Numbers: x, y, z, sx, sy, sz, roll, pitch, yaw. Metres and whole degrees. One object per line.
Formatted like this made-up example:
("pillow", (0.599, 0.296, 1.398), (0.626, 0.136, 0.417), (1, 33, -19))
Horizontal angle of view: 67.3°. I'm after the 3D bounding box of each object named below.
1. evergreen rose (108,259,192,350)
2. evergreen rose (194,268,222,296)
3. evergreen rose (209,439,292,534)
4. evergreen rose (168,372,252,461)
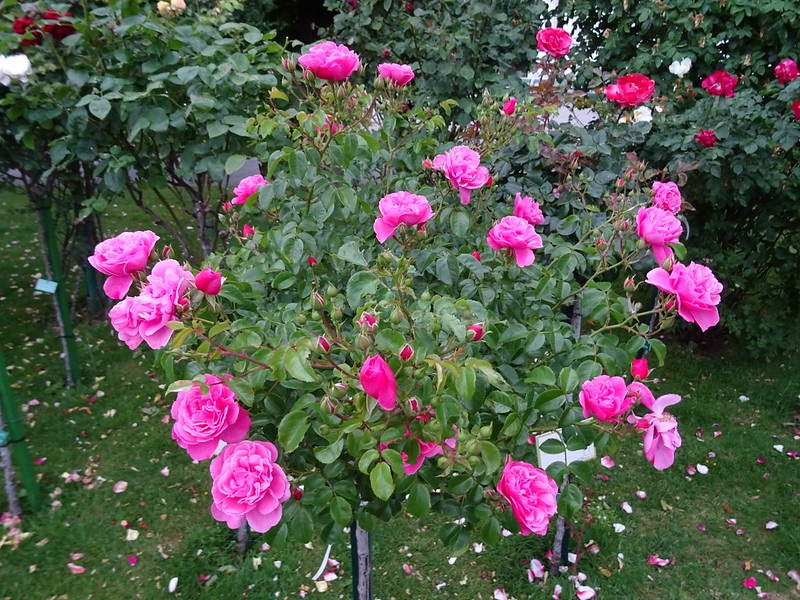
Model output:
("evergreen rose", (-0.892, 0.030, 2.224), (0.304, 0.155, 0.315), (-40, 43, 12))
("evergreen rose", (-0.709, -0.065, 2.231), (0.093, 0.101, 0.081), (-1, 35, -13))
("evergreen rose", (-0.567, 0.675, 2.214), (0.308, 0.169, 0.315), (19, 87, -11))
("evergreen rose", (-0.702, 0.445, 2.319), (0.280, 0.172, 0.298), (-40, 78, 0))
